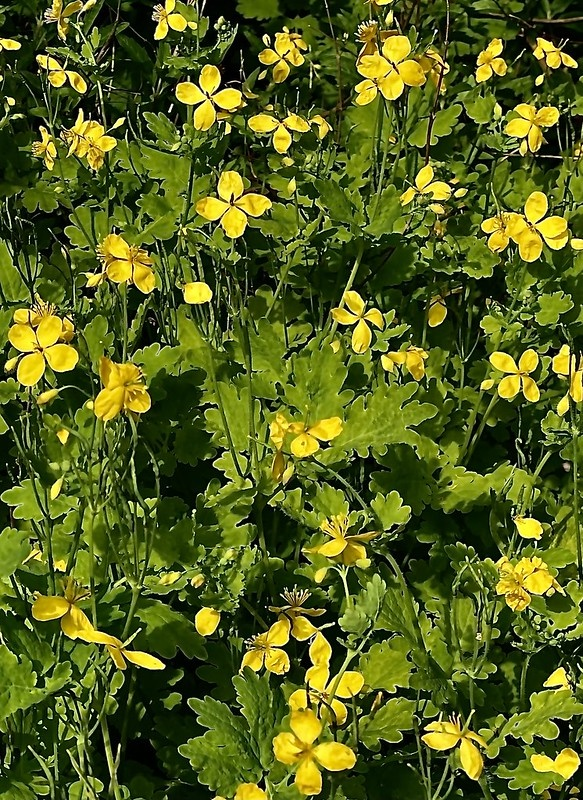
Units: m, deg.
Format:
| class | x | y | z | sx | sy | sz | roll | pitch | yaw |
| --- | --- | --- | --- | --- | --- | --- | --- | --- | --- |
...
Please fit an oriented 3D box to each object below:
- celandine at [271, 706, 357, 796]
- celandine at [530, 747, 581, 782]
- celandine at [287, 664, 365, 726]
| class | x | y | z | sx | sy | sz | roll | pitch | yaw |
| --- | --- | --- | --- | --- | --- | --- | --- | --- | --- |
| celandine | 0.020 | 0.341 | 0.752 | 0.089 | 0.027 | 0.085 | -10 | 87 | 25 |
| celandine | 0.310 | 0.430 | 0.927 | 0.053 | 0.057 | 0.032 | -2 | 59 | -12 |
| celandine | 0.029 | 0.304 | 0.819 | 0.021 | 0.065 | 0.061 | 6 | 24 | -47 |
